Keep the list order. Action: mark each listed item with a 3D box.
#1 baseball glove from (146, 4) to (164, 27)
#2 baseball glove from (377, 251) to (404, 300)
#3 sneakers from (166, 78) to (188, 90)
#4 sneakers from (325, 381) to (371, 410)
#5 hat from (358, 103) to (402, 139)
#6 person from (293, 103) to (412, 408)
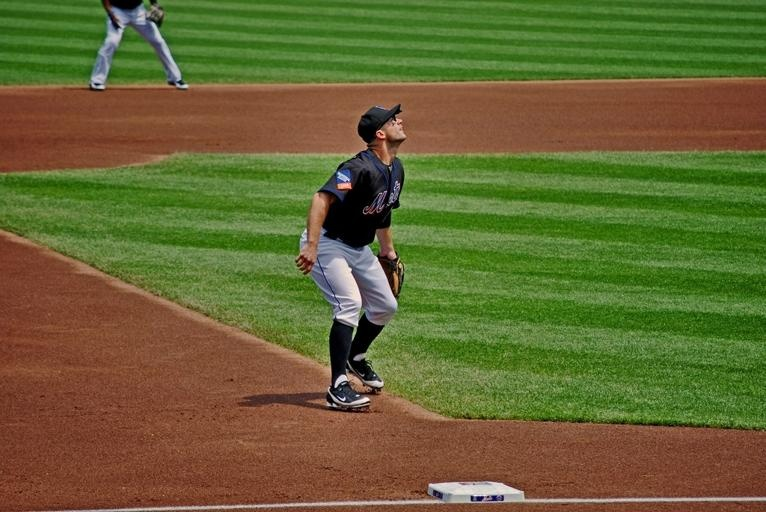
[{"bbox_3d":[-3.574,-3.810,23.522,0.243,0.313,0.330,4,9,-12],"label":"baseball glove"},{"bbox_3d":[0.155,0.206,16.342,0.208,0.408,0.319,-7,5,-18],"label":"baseball glove"},{"bbox_3d":[-3.434,-2.854,24.831,0.437,0.160,0.143,7,11,32],"label":"sneakers"},{"bbox_3d":[-0.344,1.499,15.862,0.517,0.232,0.241,1,4,33],"label":"sneakers"},{"bbox_3d":[-0.038,-1.417,15.926,0.418,0.404,0.279,4,9,-10],"label":"hat"},{"bbox_3d":[-0.278,0.003,15.874,1.256,3.248,0.706,2,10,-21],"label":"person"}]
